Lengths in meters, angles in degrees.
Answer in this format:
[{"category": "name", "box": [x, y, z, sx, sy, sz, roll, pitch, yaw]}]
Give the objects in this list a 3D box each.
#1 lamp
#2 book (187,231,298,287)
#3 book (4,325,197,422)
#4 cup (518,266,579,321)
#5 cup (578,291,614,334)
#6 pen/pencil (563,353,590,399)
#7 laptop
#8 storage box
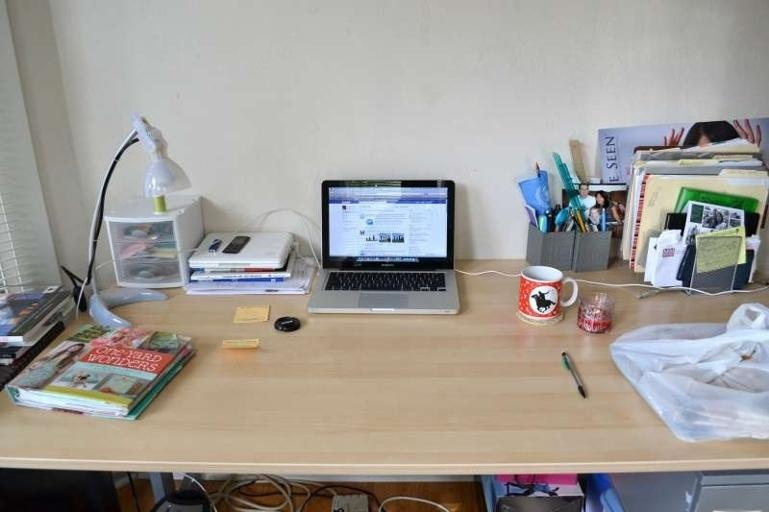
[{"category": "lamp", "box": [-0.852, -0.109, 1.861, 0.572, 0.790, 0.267, -6, 18, -16]}, {"category": "book", "box": [-0.478, 0.003, 1.764, 0.302, 0.173, 0.184, 2, 25, 1]}, {"category": "book", "box": [-0.743, 0.315, 1.370, 0.285, 0.080, 0.305, 1, 34, -2]}, {"category": "cup", "box": [0.455, 0.112, 1.600, 0.205, 0.133, 0.140, 1, 22, 4]}, {"category": "cup", "box": [0.614, 0.166, 1.583, 0.109, 0.093, 0.114, -2, 17, 1]}, {"category": "pen/pencil", "box": [0.497, 0.314, 1.386, 0.019, 0.014, 0.128, -33, 31, 5]}, {"category": "laptop", "box": [0.008, -0.036, 1.752, 0.625, 0.374, 0.417, 0, 31, 1]}, {"category": "storage box", "box": [-0.716, -0.054, 1.859, 0.306, 0.304, 0.338, 0, 22, -5]}]
